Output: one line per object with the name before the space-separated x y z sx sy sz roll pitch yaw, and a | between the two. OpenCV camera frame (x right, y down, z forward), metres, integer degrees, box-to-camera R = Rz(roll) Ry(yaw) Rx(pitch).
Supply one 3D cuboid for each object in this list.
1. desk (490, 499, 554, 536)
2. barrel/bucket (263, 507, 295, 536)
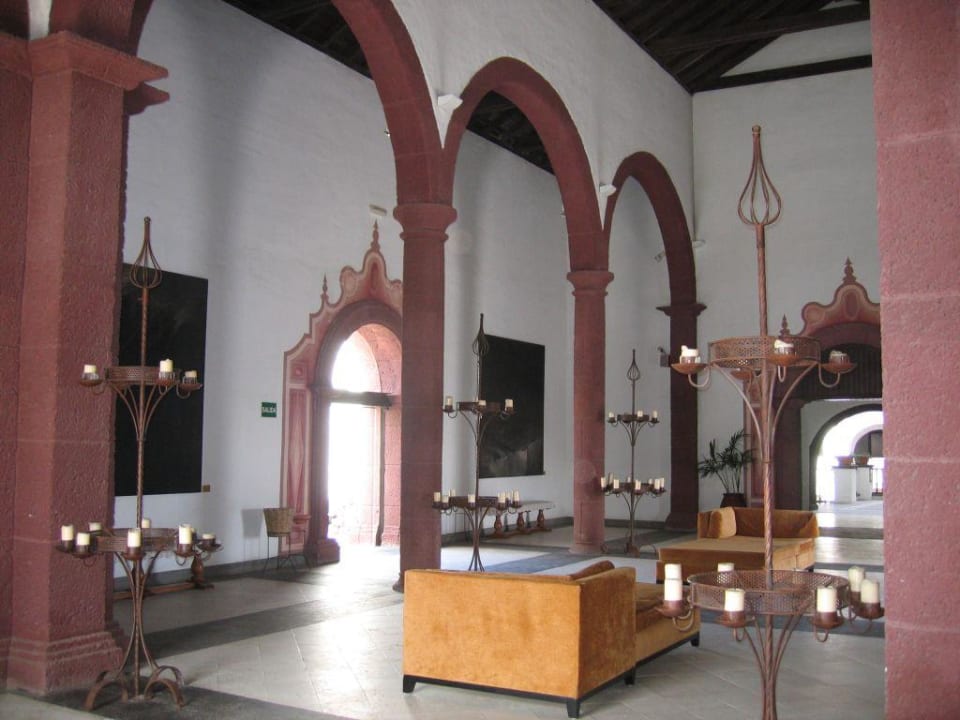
desk | 0.729 2.842 15.321 0.920 0.529 2.522 0 -5 12
barrel/bucket | -2.607 2.097 11.019 0.334 0.279 0.326 0 -8 0
